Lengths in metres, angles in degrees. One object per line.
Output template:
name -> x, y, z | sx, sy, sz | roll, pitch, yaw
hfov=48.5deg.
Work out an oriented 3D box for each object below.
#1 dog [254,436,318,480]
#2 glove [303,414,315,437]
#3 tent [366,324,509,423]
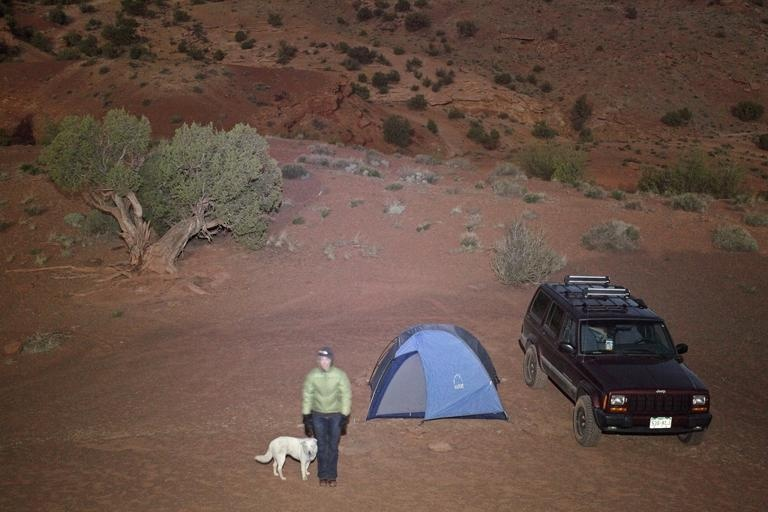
dog -> -3.745, 8.179, 34.055 | 2.690, 1.736, 1.919 | 1, -1, -10
glove -> -2.977, 6.786, 33.961 | 0.475, 0.847, 0.221 | -1, 15, 18
tent -> 1.897, 4.944, 37.250 | 5.110, 4.207, 5.175 | 3, -5, -31
